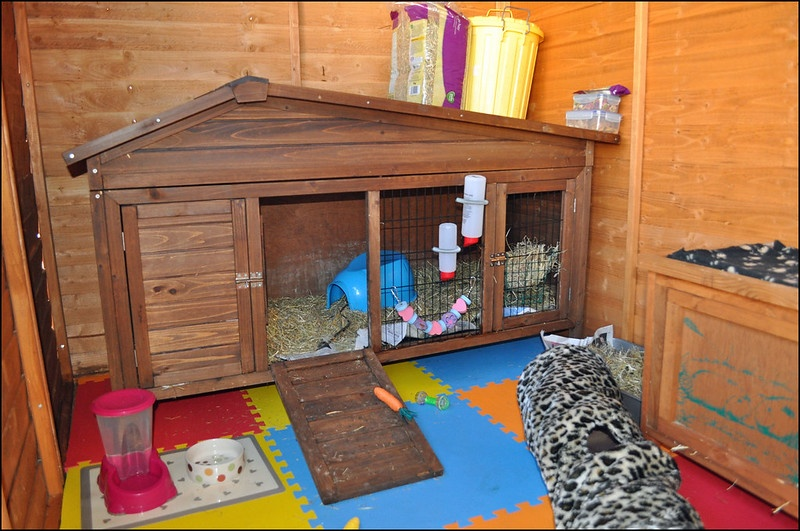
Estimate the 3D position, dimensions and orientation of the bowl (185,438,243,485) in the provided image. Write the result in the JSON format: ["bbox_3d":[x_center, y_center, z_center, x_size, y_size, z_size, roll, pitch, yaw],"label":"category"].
[{"bbox_3d":[-1.037,1.112,2.979,0.363,0.107,0.326,-3,1,-4],"label":"bowl"}]

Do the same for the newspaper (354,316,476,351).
[{"bbox_3d":[-0.004,0.510,3.914,0.567,0.107,0.277,-4,4,-20],"label":"newspaper"}]

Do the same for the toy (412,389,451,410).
[{"bbox_3d":[0.216,0.883,3.491,0.193,0.087,0.111,-1,-2,44],"label":"toy"}]

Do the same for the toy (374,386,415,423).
[{"bbox_3d":[-0.043,0.843,3.275,0.349,0.093,0.107,32,30,26],"label":"toy"}]

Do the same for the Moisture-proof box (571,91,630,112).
[{"bbox_3d":[1.489,-1.211,4.004,0.203,0.098,0.270,-6,10,-33],"label":"Moisture-proof box"}]

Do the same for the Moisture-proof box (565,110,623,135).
[{"bbox_3d":[1.490,-1.071,4.061,0.256,0.117,0.345,-3,6,-32],"label":"Moisture-proof box"}]

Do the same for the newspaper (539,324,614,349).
[{"bbox_3d":[1.380,0.557,4.132,0.476,0.194,0.236,-2,4,-16],"label":"newspaper"}]
